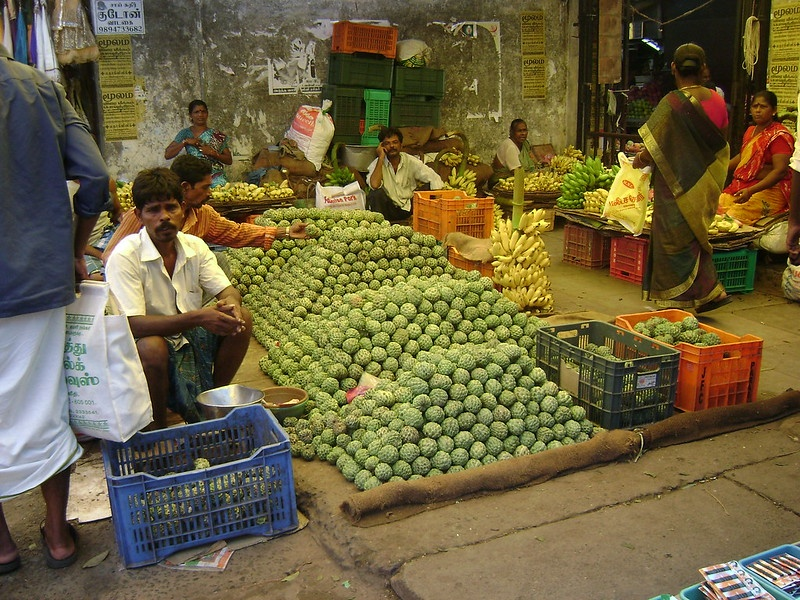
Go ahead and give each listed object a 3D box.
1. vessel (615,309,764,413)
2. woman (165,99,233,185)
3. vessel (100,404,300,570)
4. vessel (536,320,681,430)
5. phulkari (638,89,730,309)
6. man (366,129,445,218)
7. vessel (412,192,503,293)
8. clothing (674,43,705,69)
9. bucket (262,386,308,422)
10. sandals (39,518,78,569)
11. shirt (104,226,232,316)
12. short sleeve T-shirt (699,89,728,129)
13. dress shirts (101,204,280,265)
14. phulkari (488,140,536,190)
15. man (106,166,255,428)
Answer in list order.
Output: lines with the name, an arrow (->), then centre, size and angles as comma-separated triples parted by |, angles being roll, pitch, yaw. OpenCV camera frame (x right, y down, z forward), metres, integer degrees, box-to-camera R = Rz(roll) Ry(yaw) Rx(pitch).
vessel -> 1.918, 0.420, 4.129 | 1.011, 0.417, 1.028 | 9, 14, 37
woman -> -2.820, -1.968, 8.312 | 0.837, 1.553, 0.544 | -5, 8, -13
vessel -> -0.989, 0.660, 2.944 | 0.926, 0.513, 0.705 | -10, 27, -14
vessel -> 1.280, 0.421, 3.728 | 0.533, 0.369, 0.815 | -8, 20, -22
phulkari -> 2.436, -0.941, 5.286 | 0.848, 2.129, 0.831 | -3, 4, -12
man -> 0.044, -1.567, 7.874 | 1.016, 1.340, 0.786 | 1, 12, 11
vessel -> 0.527, -0.642, 5.700 | 0.672, 0.720, 1.087 | -4, 17, -19
clothing -> 2.393, -2.019, 4.910 | 0.184, 0.135, 0.260 | 2, 45, 16
bucket -> -0.734, 0.654, 3.772 | 0.224, 0.116, 0.220 | 0, 11, 0
sandals -> -1.634, 1.123, 2.824 | 0.112, 0.111, 0.301 | -5, 22, -37
shirt -> -1.357, -0.146, 3.469 | 0.677, 0.518, 0.356 | -10, 8, -35
short sleeve T-shirt -> 2.632, -1.580, 4.927 | 0.166, 0.317, 0.421 | 13, 23, 39
dress shirts -> -1.456, -0.511, 4.272 | 0.911, 0.340, 0.519 | 0, 29, -5
phulkari -> 1.882, -2.215, 9.700 | 0.704, 0.836, 0.637 | -8, 12, -28
man -> -1.216, 0.007, 3.399 | 0.541, 1.497, 0.753 | 8, 20, 28
